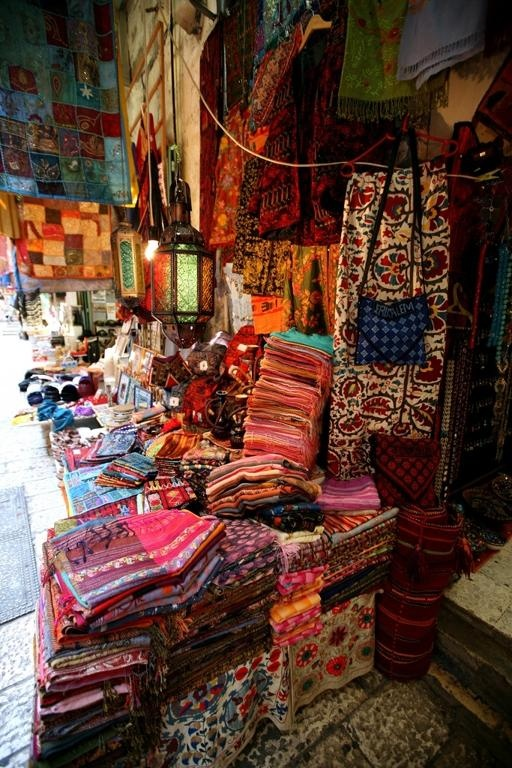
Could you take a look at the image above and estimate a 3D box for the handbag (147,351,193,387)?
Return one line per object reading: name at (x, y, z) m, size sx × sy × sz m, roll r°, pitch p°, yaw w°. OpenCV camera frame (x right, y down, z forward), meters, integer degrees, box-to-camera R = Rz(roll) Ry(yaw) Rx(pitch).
handbag at (-0.650, -0.104, 3.735) m, size 0.279 × 0.274 × 0.113 m, roll 4°, pitch 22°, yaw 22°
